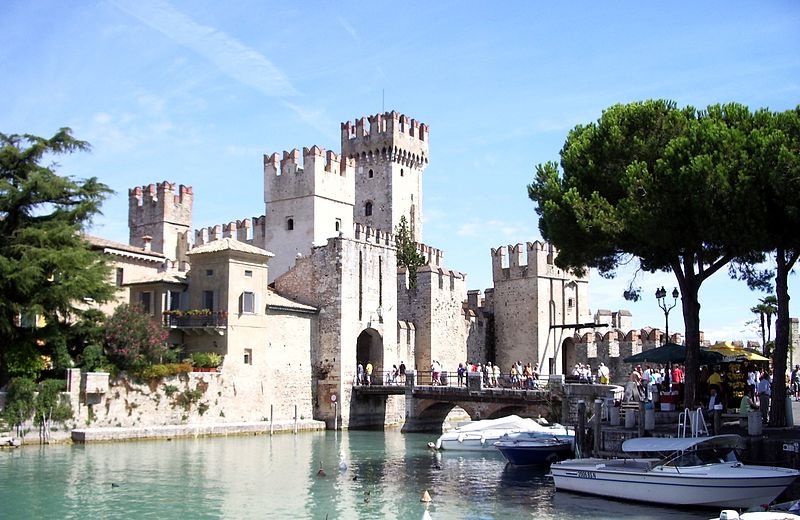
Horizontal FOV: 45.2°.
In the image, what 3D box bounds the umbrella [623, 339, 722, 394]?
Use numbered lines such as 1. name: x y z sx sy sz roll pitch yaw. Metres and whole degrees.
1. umbrella: 13.060 5.115 45.757 5.069 2.585 2.724 1 -2 0
